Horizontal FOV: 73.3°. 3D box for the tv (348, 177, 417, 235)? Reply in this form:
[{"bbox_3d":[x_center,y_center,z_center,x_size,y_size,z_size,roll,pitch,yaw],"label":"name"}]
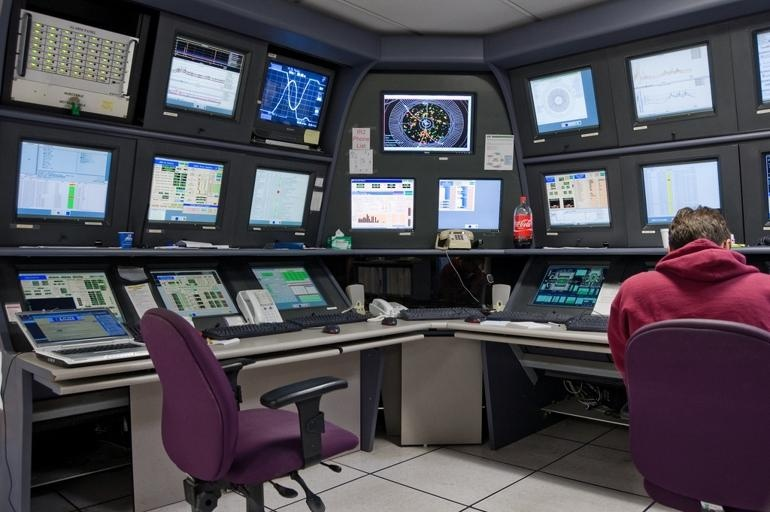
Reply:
[{"bbox_3d":[-0.001,-0.405,4.067,0.497,0.369,0.164,0,3,4],"label":"tv"}]

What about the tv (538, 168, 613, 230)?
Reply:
[{"bbox_3d":[1.434,-0.434,3.860,0.510,0.405,0.053,-3,5,33],"label":"tv"}]

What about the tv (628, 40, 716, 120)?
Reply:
[{"bbox_3d":[1.878,-1.169,3.553,0.550,0.431,0.187,-11,12,-2],"label":"tv"}]

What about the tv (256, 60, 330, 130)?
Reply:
[{"bbox_3d":[-0.595,-1.190,3.904,0.625,0.464,0.328,19,19,17],"label":"tv"}]

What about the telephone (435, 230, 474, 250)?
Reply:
[{"bbox_3d":[0.533,-0.128,3.998,0.293,0.149,0.172,1,7,8],"label":"telephone"}]

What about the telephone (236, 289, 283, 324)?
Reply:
[{"bbox_3d":[-0.827,0.341,3.440,0.207,0.090,0.278,2,37,-34],"label":"telephone"}]

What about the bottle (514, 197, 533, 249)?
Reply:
[{"bbox_3d":[1.067,-0.271,4.000,0.160,0.402,0.158,0,7,0],"label":"bottle"}]

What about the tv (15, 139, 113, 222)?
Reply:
[{"bbox_3d":[-1.911,-0.457,3.067,0.568,0.478,0.056,0,6,-36],"label":"tv"}]

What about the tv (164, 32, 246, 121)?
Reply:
[{"bbox_3d":[-1.180,-1.190,3.368,0.633,0.552,0.064,5,14,-34],"label":"tv"}]

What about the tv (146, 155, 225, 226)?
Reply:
[{"bbox_3d":[-1.351,-0.435,3.558,0.479,0.361,0.436,1,1,-26],"label":"tv"}]

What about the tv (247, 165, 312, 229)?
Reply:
[{"bbox_3d":[-0.797,-0.450,3.827,0.532,0.420,0.055,1,10,-37],"label":"tv"}]

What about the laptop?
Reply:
[{"bbox_3d":[-1.496,0.400,2.678,0.553,0.204,0.521,3,1,34],"label":"laptop"}]

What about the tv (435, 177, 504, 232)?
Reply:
[{"bbox_3d":[0.676,-0.403,4.061,0.502,0.416,0.110,1,2,4],"label":"tv"}]

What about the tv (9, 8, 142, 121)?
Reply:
[{"bbox_3d":[-1.794,-1.125,2.979,0.739,0.582,0.321,3,10,-32],"label":"tv"}]

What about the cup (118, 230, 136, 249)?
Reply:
[{"bbox_3d":[-1.619,-0.101,3.266,0.112,0.095,0.118,1,5,0],"label":"cup"}]

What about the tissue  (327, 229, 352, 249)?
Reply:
[{"bbox_3d":[-0.342,-0.124,4.002,0.132,0.058,0.173,2,41,-5],"label":"tissue "}]

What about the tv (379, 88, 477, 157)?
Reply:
[{"bbox_3d":[0.344,-1.062,4.037,0.594,0.333,0.023,0,4,2],"label":"tv"}]

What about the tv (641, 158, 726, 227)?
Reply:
[{"bbox_3d":[2.024,-0.419,3.559,0.208,0.455,0.521,-5,2,-37],"label":"tv"}]
